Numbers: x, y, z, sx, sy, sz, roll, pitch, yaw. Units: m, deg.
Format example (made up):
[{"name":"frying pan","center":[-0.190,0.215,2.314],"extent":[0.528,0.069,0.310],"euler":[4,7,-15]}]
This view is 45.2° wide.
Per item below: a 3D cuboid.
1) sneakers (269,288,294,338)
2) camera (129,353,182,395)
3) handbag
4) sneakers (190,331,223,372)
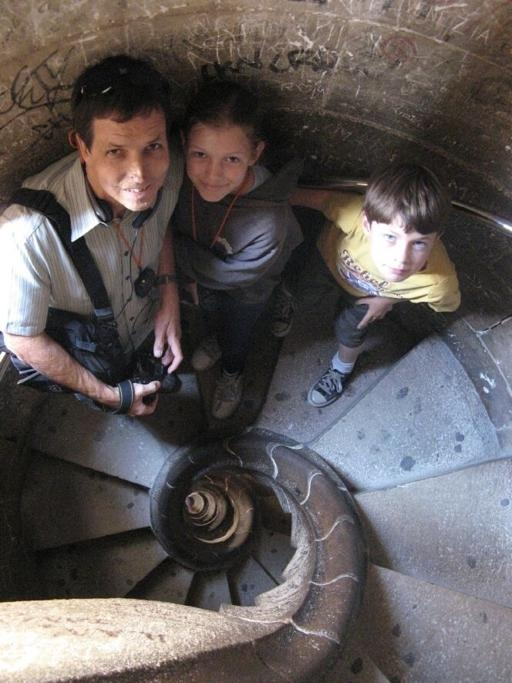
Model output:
[{"name":"sneakers","center":[0.143,-0.162,3.472],"extent":[0.140,0.088,0.246],"euler":[9,78,8]},{"name":"camera","center":[-0.419,0.149,2.781],"extent":[0.198,0.277,0.092],"euler":[-3,67,41]},{"name":"handbag","center":[-0.641,0.017,2.444],"extent":[0.476,0.607,0.322],"euler":[2,94,15]},{"name":"sneakers","center":[-0.268,0.050,3.380],"extent":[0.111,0.095,0.236],"euler":[46,72,-22]}]
